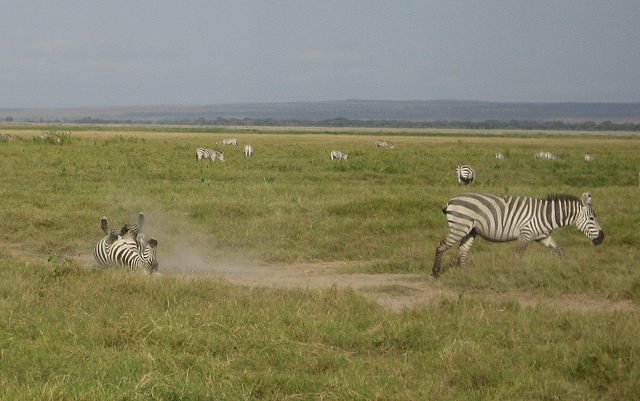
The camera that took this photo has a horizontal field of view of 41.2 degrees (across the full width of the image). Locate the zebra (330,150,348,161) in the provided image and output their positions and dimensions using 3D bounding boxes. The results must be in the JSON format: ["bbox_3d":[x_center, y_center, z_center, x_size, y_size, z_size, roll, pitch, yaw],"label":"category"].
[{"bbox_3d":[1.189,-2.415,45.943,1.271,0.414,0.660,-2,-28,-4],"label":"zebra"}]

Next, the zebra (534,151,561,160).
[{"bbox_3d":[12.791,-2.536,48.200,1.277,0.306,0.669,8,-11,0],"label":"zebra"}]

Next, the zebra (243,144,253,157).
[{"bbox_3d":[-3.912,-2.716,46.501,0.413,0.483,1.265,0,10,-6],"label":"zebra"}]

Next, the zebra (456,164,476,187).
[{"bbox_3d":[6.069,-1.177,35.515,0.499,1.139,1.562,5,14,30],"label":"zebra"}]

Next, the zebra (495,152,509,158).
[{"bbox_3d":[10.126,-2.508,47.341,0.563,0.226,0.819,0,5,4],"label":"zebra"}]

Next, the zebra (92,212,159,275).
[{"bbox_3d":[-5.211,1.110,23.162,1.999,1.472,0.882,7,12,31],"label":"zebra"}]
